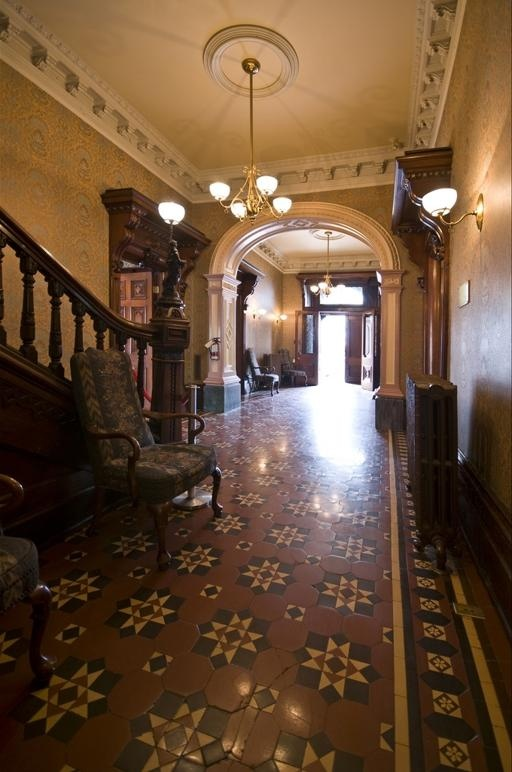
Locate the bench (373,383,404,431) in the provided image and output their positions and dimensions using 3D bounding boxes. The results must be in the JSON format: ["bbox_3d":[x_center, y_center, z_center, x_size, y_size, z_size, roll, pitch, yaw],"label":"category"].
[{"bbox_3d":[1.747,0.294,6.824,0.446,0.727,0.479,0,-1,3],"label":"bench"}]

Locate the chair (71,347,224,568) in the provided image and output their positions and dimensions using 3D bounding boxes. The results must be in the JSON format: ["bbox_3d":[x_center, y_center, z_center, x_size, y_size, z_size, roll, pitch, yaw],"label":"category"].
[{"bbox_3d":[-0.710,0.280,3.230,0.966,1.474,0.919,4,8,21],"label":"chair"}]

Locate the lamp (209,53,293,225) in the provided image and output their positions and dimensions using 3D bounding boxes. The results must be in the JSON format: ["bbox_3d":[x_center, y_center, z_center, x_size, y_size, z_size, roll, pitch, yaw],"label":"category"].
[{"bbox_3d":[-0.053,-2.546,5.265,0.654,1.493,0.660,19,50,18],"label":"lamp"}]

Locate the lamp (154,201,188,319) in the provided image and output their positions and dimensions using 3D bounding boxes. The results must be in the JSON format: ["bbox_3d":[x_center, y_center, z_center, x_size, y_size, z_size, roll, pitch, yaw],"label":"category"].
[{"bbox_3d":[-0.617,-0.884,3.677,0.249,0.805,0.253,3,14,-16],"label":"lamp"}]
